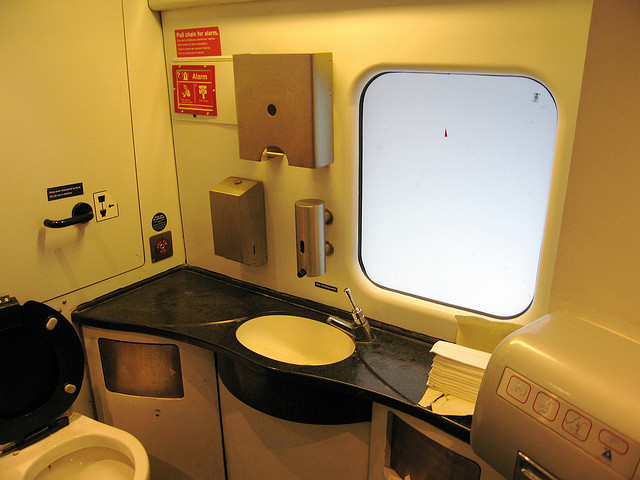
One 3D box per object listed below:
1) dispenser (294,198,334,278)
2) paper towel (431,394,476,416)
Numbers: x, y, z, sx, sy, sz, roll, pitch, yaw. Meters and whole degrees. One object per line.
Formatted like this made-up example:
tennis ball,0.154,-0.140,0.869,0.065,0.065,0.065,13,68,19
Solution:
dispenser,-0.031,-0.012,2.258,0.173,0.334,0.123,-22,28,-39
paper towel,0.474,0.587,1.843,0.150,0.033,0.097,3,23,5
